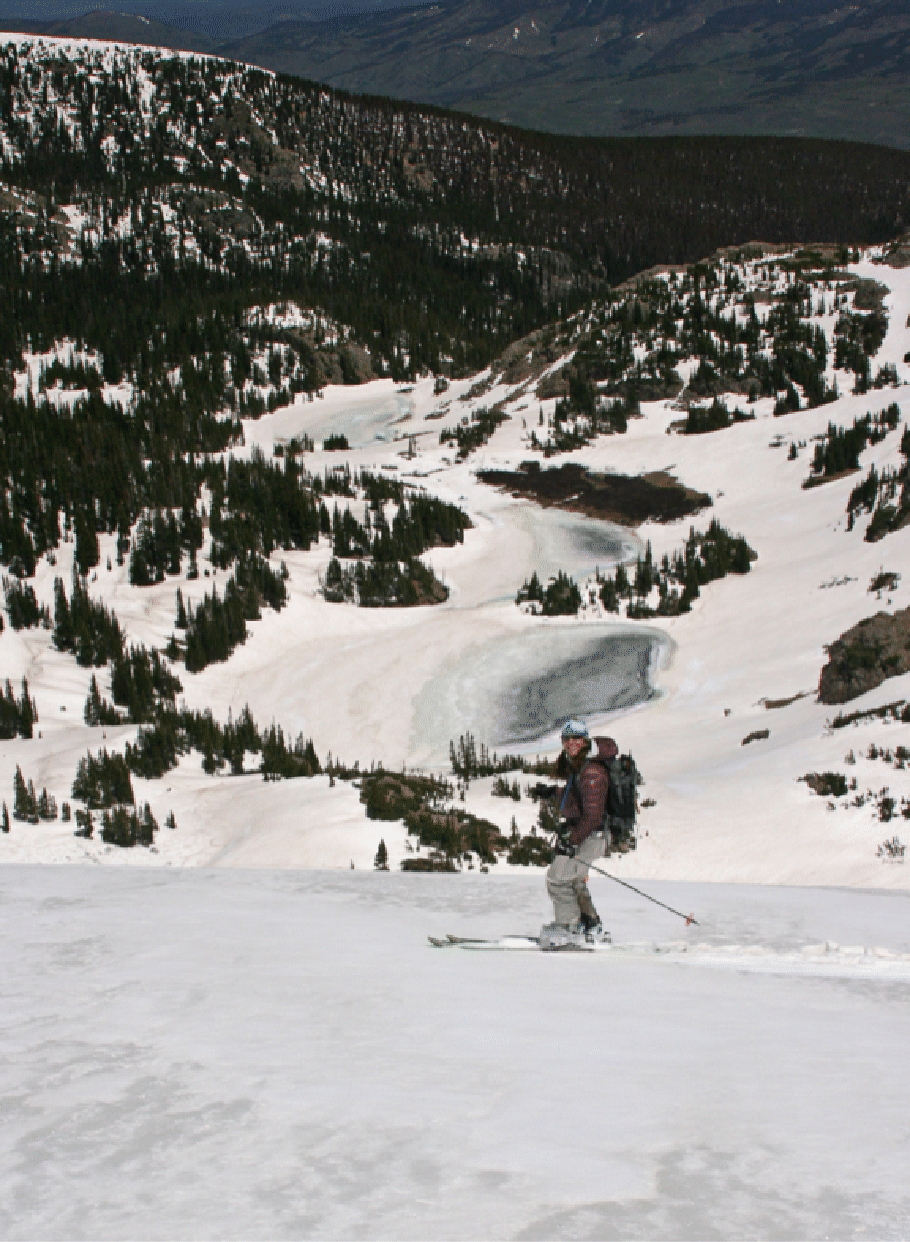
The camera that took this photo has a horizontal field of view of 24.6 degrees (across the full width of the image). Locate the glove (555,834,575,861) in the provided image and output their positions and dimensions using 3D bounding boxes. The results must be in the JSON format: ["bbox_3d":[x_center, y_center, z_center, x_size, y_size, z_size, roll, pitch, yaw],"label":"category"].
[{"bbox_3d":[1.075,2.227,20.419,0.146,0.243,0.080,-9,9,19],"label":"glove"}]

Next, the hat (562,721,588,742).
[{"bbox_3d":[1.126,1.041,19.941,0.154,0.237,0.219,4,-17,23],"label":"hat"}]
